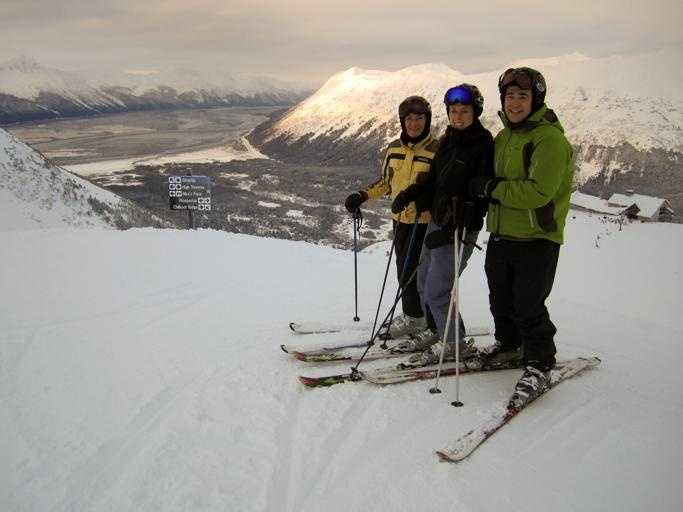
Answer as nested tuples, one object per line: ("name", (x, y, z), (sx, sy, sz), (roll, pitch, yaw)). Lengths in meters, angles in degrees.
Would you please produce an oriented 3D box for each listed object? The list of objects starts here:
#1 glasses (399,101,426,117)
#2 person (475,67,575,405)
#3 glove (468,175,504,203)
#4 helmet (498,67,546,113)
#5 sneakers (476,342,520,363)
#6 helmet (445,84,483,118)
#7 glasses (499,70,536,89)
("glasses", (0.679, -1.432, 5.374), (0.152, 0.096, 0.198), (1, 2, 17))
("person", (1.570, -0.171, 4.838), (0.747, 2.839, 0.665), (6, 12, 24))
("glove", (1.239, -0.571, 4.792), (0.234, 0.112, 0.210), (0, 20, -4))
("helmet", (1.588, -1.415, 4.842), (0.332, 0.401, 0.405), (5, 14, 28))
("sneakers", (1.513, 0.960, 5.405), (0.448, 0.215, 0.172), (1, 3, 3))
("helmet", (1.092, -1.335, 4.925), (0.257, 0.285, 0.330), (4, 2, 23))
("glasses", (1.483, -1.491, 4.681), (0.277, 0.172, 0.092), (5, 11, 15))
